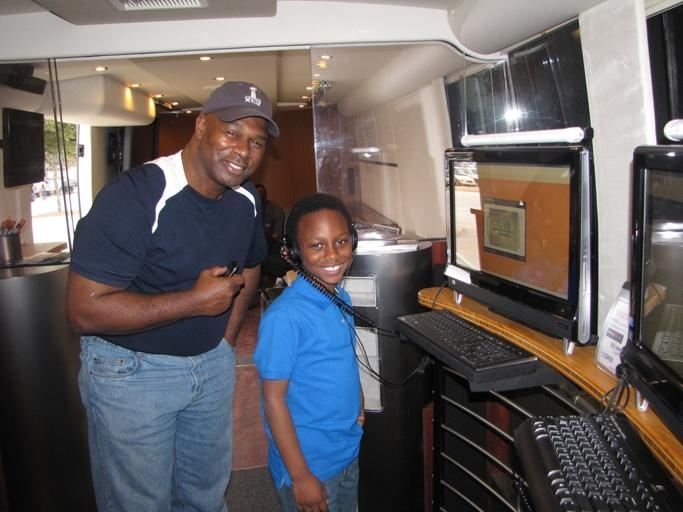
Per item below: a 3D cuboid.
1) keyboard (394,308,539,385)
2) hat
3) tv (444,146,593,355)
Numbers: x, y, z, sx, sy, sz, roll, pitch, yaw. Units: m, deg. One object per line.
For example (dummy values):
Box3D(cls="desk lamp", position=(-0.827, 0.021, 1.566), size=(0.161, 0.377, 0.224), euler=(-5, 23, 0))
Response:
Box3D(cls="keyboard", position=(0.443, 0.361, 1.903), size=(0.251, 0.167, 0.662), euler=(-4, 9, -15))
Box3D(cls="hat", position=(-0.348, -0.531, 1.767), size=(0.167, 0.121, 0.229), euler=(-2, 18, -41))
Box3D(cls="tv", position=(0.626, -0.019, 1.704), size=(0.130, 0.652, 0.677), euler=(-2, 8, -23))
